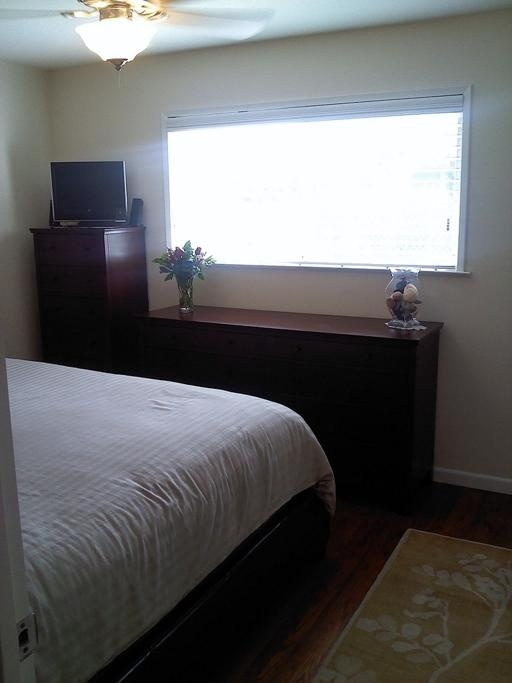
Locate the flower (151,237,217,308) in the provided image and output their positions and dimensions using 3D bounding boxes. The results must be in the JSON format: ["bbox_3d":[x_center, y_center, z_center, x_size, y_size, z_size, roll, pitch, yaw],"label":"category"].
[{"bbox_3d":[-0.436,-0.449,3.419,0.407,0.440,0.409,-9,10,-37],"label":"flower"}]

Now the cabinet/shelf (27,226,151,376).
[{"bbox_3d":[-1.182,-0.300,3.633,0.527,1.000,0.370,6,19,9],"label":"cabinet/shelf"}]

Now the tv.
[{"bbox_3d":[-1.109,-1.018,3.521,0.508,0.406,0.053,-3,-3,-5],"label":"tv"}]

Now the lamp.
[{"bbox_3d":[-0.619,-1.333,2.285,0.294,0.122,0.265,5,9,37],"label":"lamp"}]

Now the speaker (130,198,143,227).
[{"bbox_3d":[-0.822,-0.889,3.583,0.077,0.203,0.127,3,8,28],"label":"speaker"}]
